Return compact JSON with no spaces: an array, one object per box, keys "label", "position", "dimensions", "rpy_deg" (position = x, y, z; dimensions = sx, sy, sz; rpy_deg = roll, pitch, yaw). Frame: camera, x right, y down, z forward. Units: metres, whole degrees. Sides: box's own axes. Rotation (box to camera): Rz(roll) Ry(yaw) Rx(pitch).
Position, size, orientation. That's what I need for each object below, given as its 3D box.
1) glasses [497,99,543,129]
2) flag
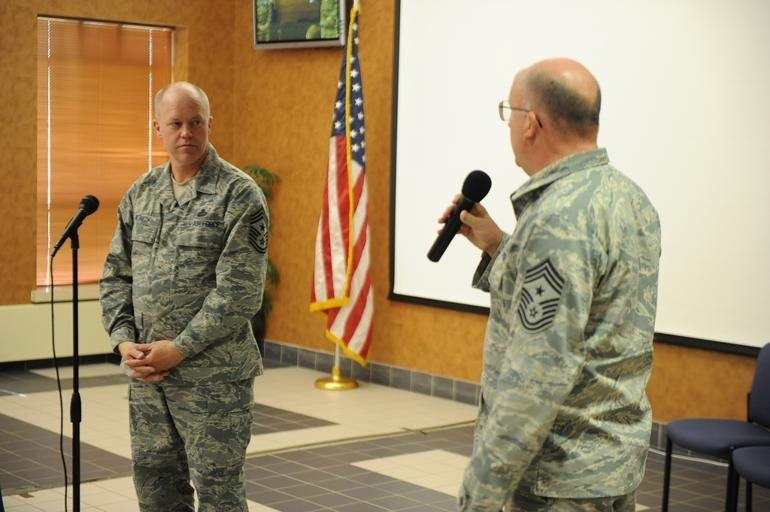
[{"label":"glasses","position":[0.441,-0.479,2.470],"dimensions":[0.132,0.045,0.123],"rpy_deg":[3,2,10]},{"label":"flag","position":[-0.379,-0.665,7.098],"dimensions":[0.495,3.301,0.541],"rpy_deg":[-3,8,-37]}]
